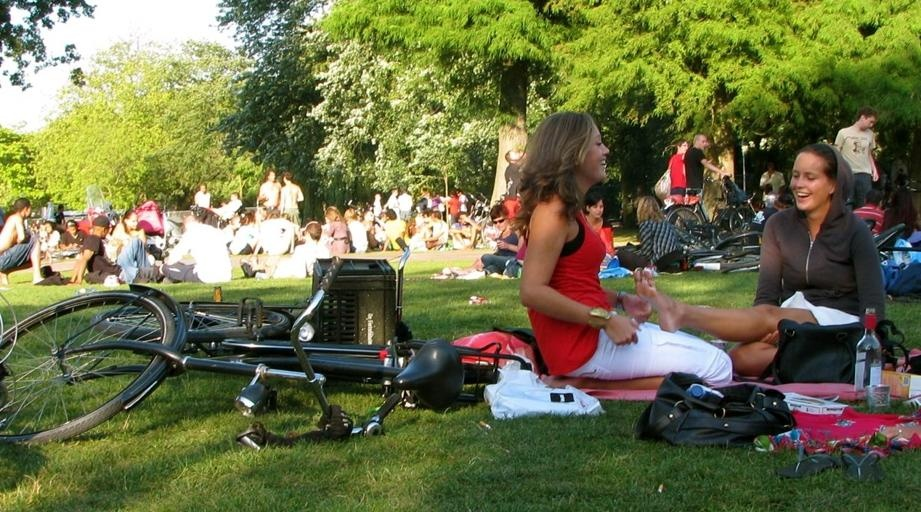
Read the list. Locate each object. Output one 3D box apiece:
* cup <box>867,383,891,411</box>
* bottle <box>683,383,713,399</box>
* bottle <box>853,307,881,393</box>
[{"bbox_3d":[4.303,1.454,9.128,0.234,0.242,0.235,0,-3,0],"label":"cup"},{"bbox_3d":[2.346,1.330,8.641,0.187,0.060,0.161,14,-16,-14],"label":"bottle"},{"bbox_3d":[4.298,0.983,9.359,0.269,0.862,0.429,-2,-2,25],"label":"bottle"}]
